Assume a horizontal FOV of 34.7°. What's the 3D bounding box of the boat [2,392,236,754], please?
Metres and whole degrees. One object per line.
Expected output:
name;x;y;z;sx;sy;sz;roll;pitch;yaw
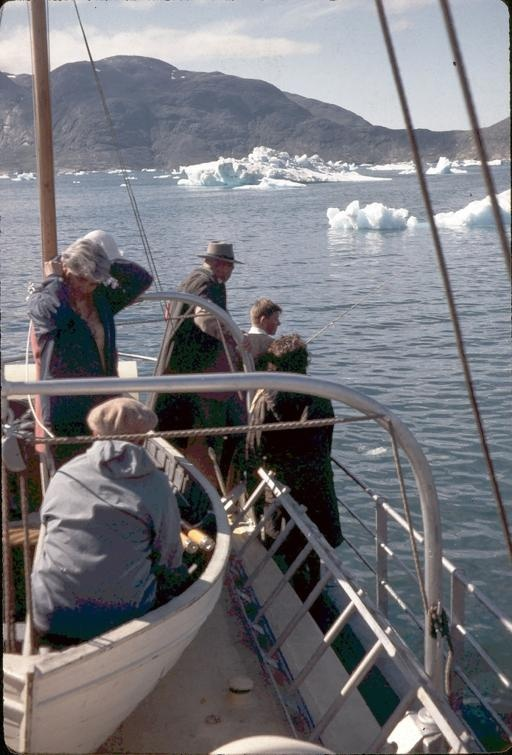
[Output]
boat;-0.536;0.791;3.148;0.885;0.571;1.508;2;40;0

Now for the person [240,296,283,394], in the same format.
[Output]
person;0.094;-0.200;6.147;0.304;0.724;0.425;-6;9;-26

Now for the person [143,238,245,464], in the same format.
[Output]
person;-0.328;-0.164;6.160;0.814;1.623;0.733;-1;11;-17
